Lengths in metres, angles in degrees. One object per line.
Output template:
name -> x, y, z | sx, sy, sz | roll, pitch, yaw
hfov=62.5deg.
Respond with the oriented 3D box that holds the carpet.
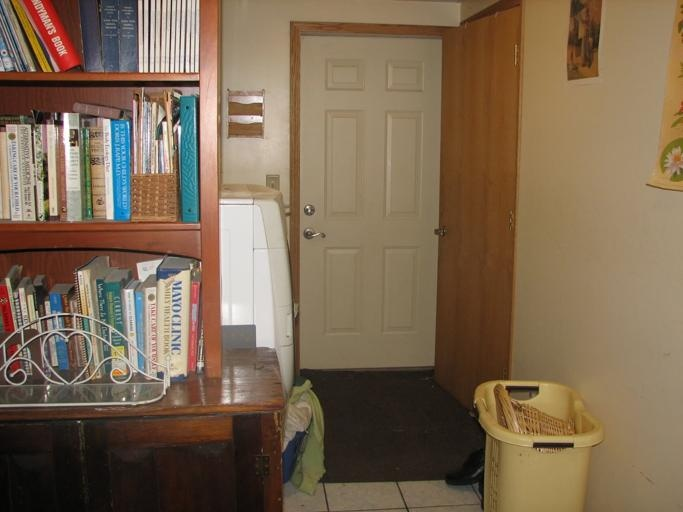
carpet -> 0.293, 0.908, 3.216 | 0.904, 0.136, 1.209 | -2, 9, -8
